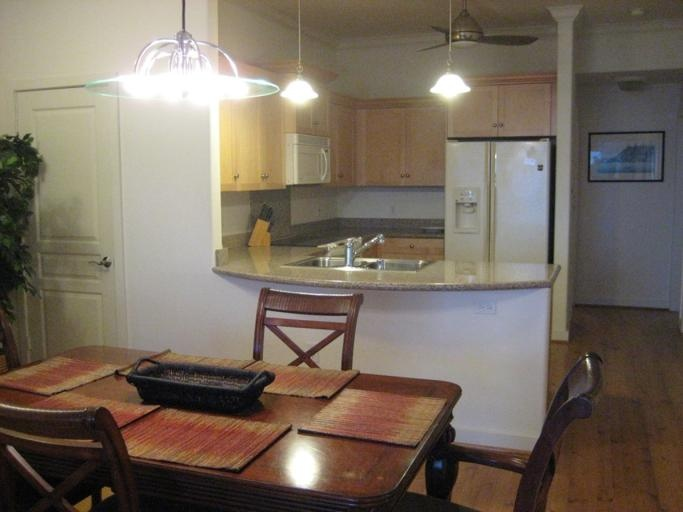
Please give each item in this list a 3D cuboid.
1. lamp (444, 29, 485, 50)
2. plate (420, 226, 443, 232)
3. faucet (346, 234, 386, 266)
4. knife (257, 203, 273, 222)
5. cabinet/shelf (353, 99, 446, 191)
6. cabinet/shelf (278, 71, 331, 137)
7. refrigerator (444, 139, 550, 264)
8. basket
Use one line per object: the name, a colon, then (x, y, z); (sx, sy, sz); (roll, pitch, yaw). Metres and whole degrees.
lamp: (0.872, -1.517, 3.985); (0.300, 0.088, 0.298); (-6, 13, -25)
plate: (1.038, -0.292, 6.432); (0.238, 0.035, 0.381); (0, 14, 5)
faucet: (0.149, -0.051, 4.178); (0.254, 0.271, 0.438); (-2, 14, -2)
knife: (-0.703, -0.407, 5.252); (0.113, 0.059, 0.195); (10, 47, -6)
cabinet/shelf: (0.655, -1.266, 6.260); (1.026, 0.900, 0.404); (2, 5, 14)
cabinet/shelf: (-0.331, -1.267, 4.747); (0.199, 0.615, 1.056); (1, 10, 14)
refrigerator: (1.509, -0.518, 5.548); (0.986, 1.176, 0.342); (2, 14, 11)
basket: (-0.560, 0.503, 2.215); (0.489, 0.147, 0.241); (2, 8, 15)
